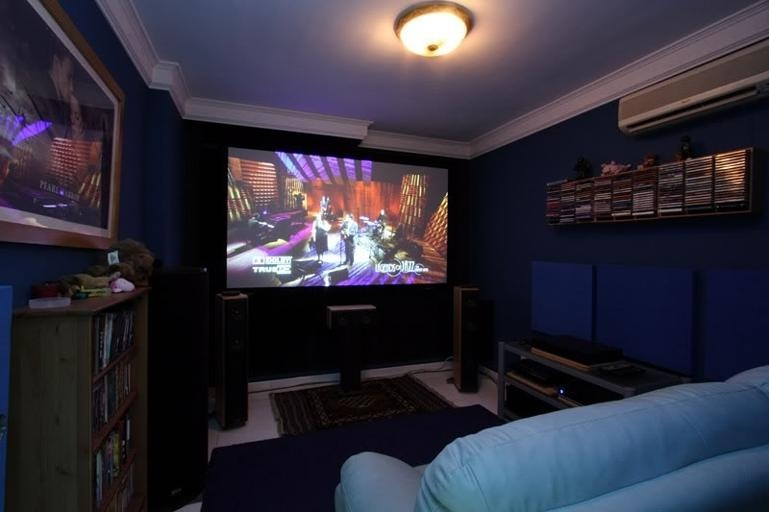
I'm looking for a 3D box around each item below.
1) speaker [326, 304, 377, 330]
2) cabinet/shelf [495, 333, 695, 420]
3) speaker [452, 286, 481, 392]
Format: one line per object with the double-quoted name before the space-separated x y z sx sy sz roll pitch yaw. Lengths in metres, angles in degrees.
"speaker" -0.354 0.583 5.103 0.464 0.192 0.315 -6 12 -24
"cabinet/shelf" 1.386 1.009 4.182 0.450 0.578 1.003 8 -20 -23
"speaker" 0.877 0.781 5.131 0.195 0.959 0.345 1 6 20
